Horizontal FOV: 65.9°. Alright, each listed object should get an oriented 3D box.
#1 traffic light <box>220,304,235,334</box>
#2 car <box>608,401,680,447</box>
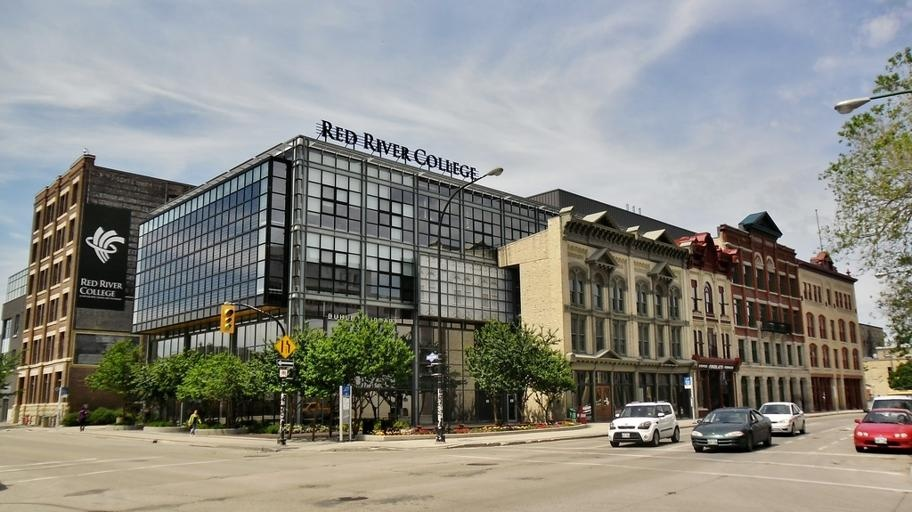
[{"bbox_3d":[-20.771,5.502,63.901,0.962,2.536,0.643,7,-23,-27],"label":"traffic light"},{"bbox_3d":[13.725,12.164,51.416,5.092,3.288,2.391,11,-24,-36],"label":"car"}]
